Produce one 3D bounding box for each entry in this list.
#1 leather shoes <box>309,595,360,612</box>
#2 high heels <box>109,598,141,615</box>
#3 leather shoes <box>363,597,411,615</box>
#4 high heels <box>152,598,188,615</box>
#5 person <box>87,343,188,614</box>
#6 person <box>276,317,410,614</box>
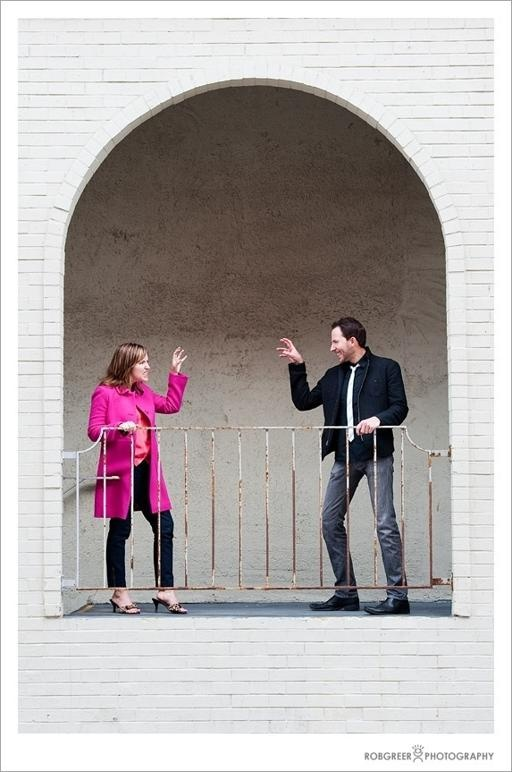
[{"bbox_3d":[0.396,1.188,9.855,0.268,0.147,0.103,2,-10,4],"label":"leather shoes"},{"bbox_3d":[-0.717,1.178,9.720,0.076,0.068,0.171,6,-12,-34],"label":"high heels"},{"bbox_3d":[0.660,1.168,9.581,0.242,0.127,0.095,4,-11,-16],"label":"leather shoes"},{"bbox_3d":[-0.490,1.182,9.721,0.210,0.108,0.101,1,-11,11],"label":"high heels"},{"bbox_3d":[-0.623,0.486,9.676,0.496,1.453,0.664,-2,-8,-2],"label":"person"},{"bbox_3d":[0.491,0.429,9.721,0.558,1.603,0.827,2,-9,-29],"label":"person"}]
